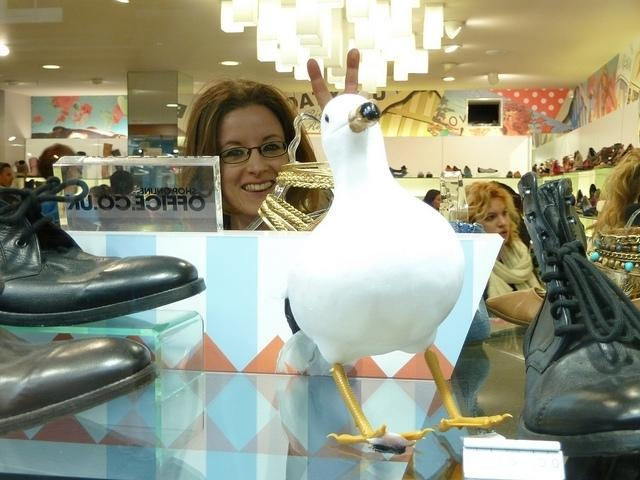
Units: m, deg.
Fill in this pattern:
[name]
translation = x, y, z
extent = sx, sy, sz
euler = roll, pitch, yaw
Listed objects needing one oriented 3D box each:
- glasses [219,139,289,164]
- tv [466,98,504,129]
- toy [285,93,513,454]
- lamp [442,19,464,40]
[glasses]
translation = -0.220, -0.294, 1.745
extent = 0.232, 0.057, 0.056
euler = -4, 2, -12
[tv]
translation = 1.350, -1.043, 4.232
extent = 0.353, 0.265, 0.199
euler = 0, 1, -4
[toy]
translation = 0.050, 0.026, 0.510
extent = 0.159, 0.331, 0.217
euler = -7, -5, -19
[lamp]
translation = 0.721, -1.153, 2.799
extent = 0.085, 0.072, 0.091
euler = 6, 10, 33
